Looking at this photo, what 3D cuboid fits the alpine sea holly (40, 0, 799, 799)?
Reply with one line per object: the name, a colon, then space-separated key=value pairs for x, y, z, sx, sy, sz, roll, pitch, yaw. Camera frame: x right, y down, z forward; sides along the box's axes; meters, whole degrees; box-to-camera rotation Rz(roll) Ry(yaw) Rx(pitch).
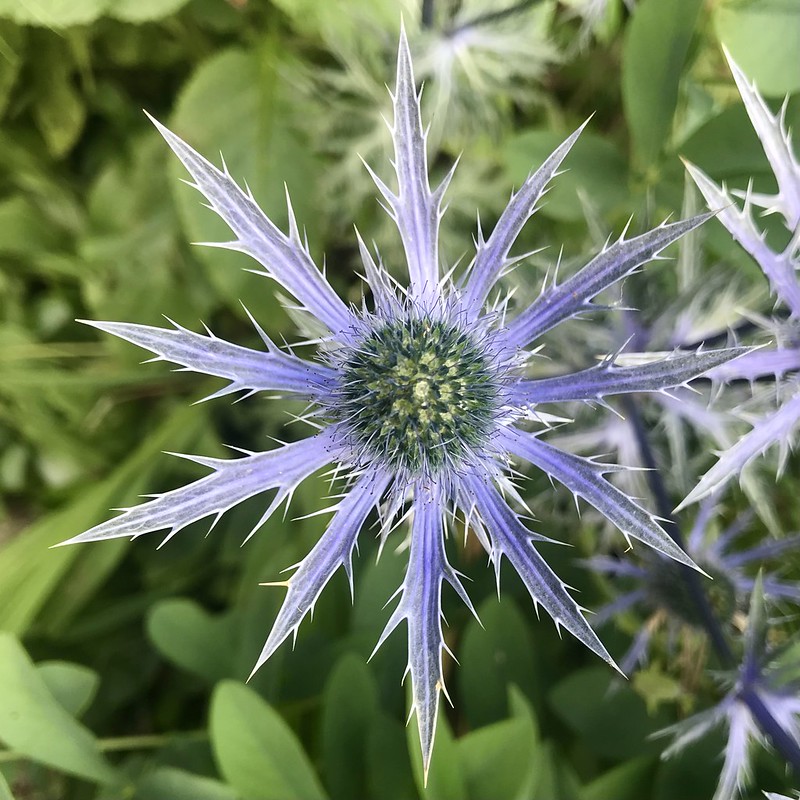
alpine sea holly: x=0.035 y=0.037 z=2.667 sx=1.730 sy=1.579 sz=0.494 roll=-22 pitch=-5 yaw=-1
